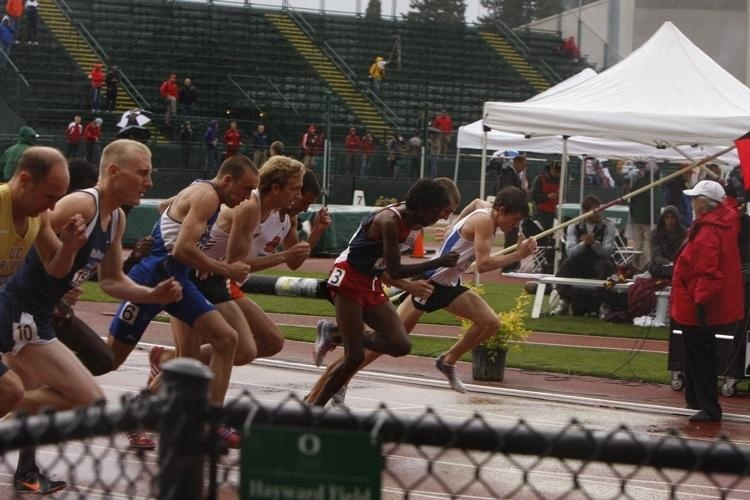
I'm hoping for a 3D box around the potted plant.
[{"bbox_3d":[1.730,1.170,11.921,0.805,1.025,0.899,1,-17,45],"label":"potted plant"}]

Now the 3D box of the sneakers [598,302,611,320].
[{"bbox_3d":[3.951,1.063,16.304,0.116,0.112,0.294,-20,44,17],"label":"sneakers"}]

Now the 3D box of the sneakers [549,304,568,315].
[{"bbox_3d":[3.225,1.059,16.735,0.421,0.175,0.149,-2,6,-34],"label":"sneakers"}]

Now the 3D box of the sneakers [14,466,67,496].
[{"bbox_3d":[-2.679,1.860,7.614,0.417,0.196,0.158,-1,6,-23],"label":"sneakers"}]

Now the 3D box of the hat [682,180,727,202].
[{"bbox_3d":[3.656,-0.652,10.493,0.378,0.184,0.248,3,1,19],"label":"hat"}]

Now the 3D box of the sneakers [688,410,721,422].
[{"bbox_3d":[3.536,1.795,10.273,0.392,0.152,0.131,-2,0,0],"label":"sneakers"}]

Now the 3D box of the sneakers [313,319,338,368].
[{"bbox_3d":[-0.512,0.974,10.064,0.241,0.544,0.191,14,11,28],"label":"sneakers"}]
